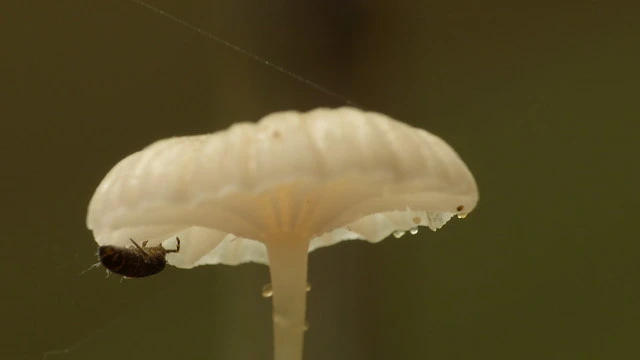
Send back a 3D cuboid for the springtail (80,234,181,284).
[{"bbox_3d":[-0.721,0.296,3.322,0.176,0.094,0.232,-11,-18,35],"label":"springtail"}]
